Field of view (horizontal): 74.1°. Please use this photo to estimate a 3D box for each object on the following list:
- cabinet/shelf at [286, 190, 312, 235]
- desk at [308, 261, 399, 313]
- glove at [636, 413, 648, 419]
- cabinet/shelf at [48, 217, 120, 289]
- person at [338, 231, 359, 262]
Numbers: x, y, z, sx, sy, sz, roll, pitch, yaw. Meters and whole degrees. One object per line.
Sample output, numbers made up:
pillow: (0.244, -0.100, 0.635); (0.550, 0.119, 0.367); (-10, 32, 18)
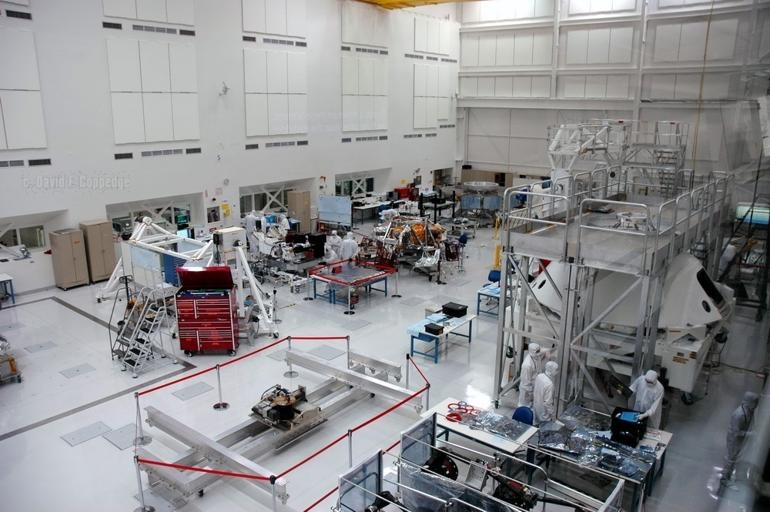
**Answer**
cabinet/shelf: (-3.683, -1.904, 22.115); (0.646, 1.775, 1.134); (4, 15, 20)
desk: (-1.276, 0.776, 16.085); (1.910, 0.794, 1.919); (6, 12, 38)
glove: (4.493, 2.810, 8.912); (0.196, 0.094, 0.089); (-7, 26, 14)
cabinet/shelf: (-9.888, -0.060, 16.558); (0.834, 2.138, 2.014); (11, 16, 37)
person: (-1.268, -0.273, 17.211); (0.629, 0.754, 0.915); (-3, 14, -7)
